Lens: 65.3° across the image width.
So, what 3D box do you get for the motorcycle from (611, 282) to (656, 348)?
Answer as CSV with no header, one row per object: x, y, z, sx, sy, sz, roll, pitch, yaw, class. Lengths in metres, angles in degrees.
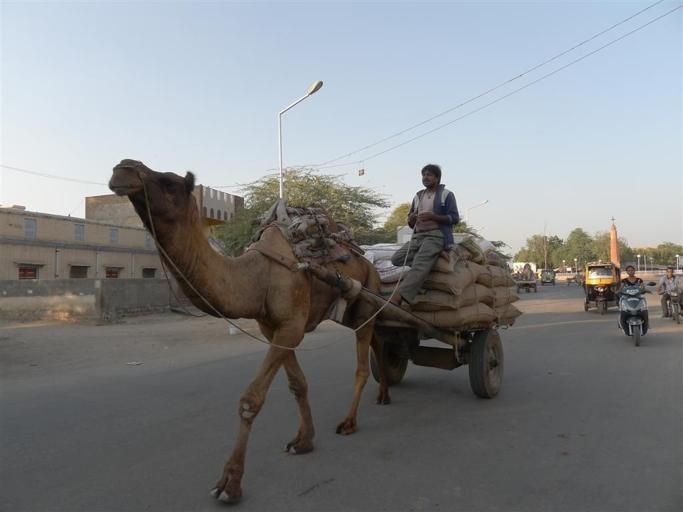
7.513,1.472,13.768,0.705,1.486,2.581,1,2,29,motorcycle

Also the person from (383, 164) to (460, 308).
1.253,-0.372,8.144,0.863,2.177,1.240,1,-1,30,person

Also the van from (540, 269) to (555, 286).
26.141,2.469,67.596,1.541,1.547,2.785,-2,-7,11,van
